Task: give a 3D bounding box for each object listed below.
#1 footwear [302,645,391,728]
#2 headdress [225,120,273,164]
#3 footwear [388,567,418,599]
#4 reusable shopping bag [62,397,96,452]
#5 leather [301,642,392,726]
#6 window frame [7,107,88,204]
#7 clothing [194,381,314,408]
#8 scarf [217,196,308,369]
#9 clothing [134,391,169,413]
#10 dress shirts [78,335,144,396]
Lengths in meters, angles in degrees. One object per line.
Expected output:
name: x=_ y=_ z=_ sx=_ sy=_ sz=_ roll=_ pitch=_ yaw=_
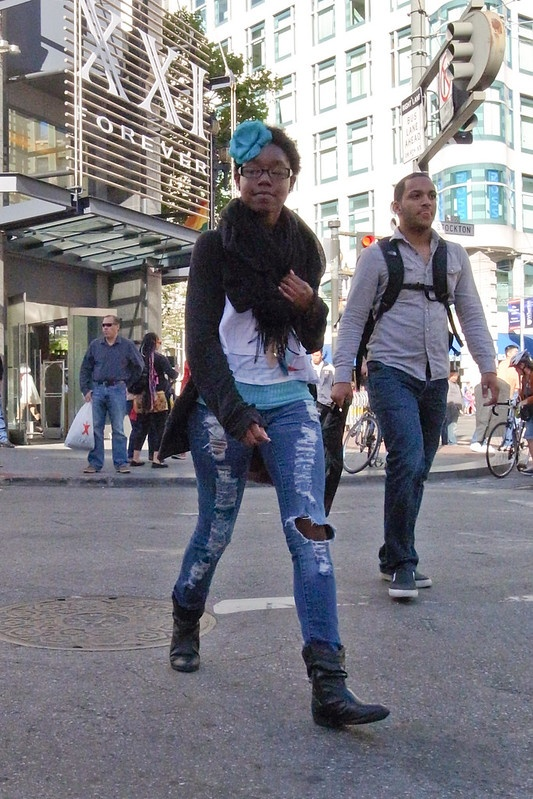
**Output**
footwear: x=0.230 y=0.784 z=2.527 sx=0.167 sy=0.206 sz=0.305 roll=-1 pitch=3 yaw=-36
headdress: x=-0.051 y=-0.793 z=2.842 sx=0.138 sy=0.137 sz=0.046 roll=-1 pitch=-13 yaw=37
footwear: x=0.639 y=0.852 z=4.338 sx=0.134 sy=0.122 sz=0.185 roll=1 pitch=3 yaw=9
reusable shopping bag: x=-2.236 y=0.309 z=11.107 sx=0.333 sy=0.582 sz=0.267 roll=0 pitch=3 yaw=-10
leather: x=0.236 y=0.780 z=2.521 sx=0.307 sy=0.301 sz=0.122 roll=-7 pitch=-21 yaw=27
window frame: x=-4.766 y=-5.307 z=19.408 sx=0.314 sy=1.265 sz=1.939 roll=2 pitch=3 yaw=21
clothing: x=0.024 y=-0.018 z=2.788 sx=0.186 sy=0.045 sz=0.138 roll=-5 pitch=5 yaw=-24
scarf: x=-0.005 y=-0.351 z=2.783 sx=0.346 sy=0.453 sz=0.137 roll=-20 pitch=14 yaw=-36
clothing: x=-1.591 y=0.008 z=12.379 sx=0.375 sy=0.247 sz=0.268 roll=-1 pitch=3 yaw=32
dress shirts: x=-1.899 y=-0.443 z=11.407 sx=0.758 sy=0.718 sz=0.430 roll=0 pitch=3 yaw=-12
